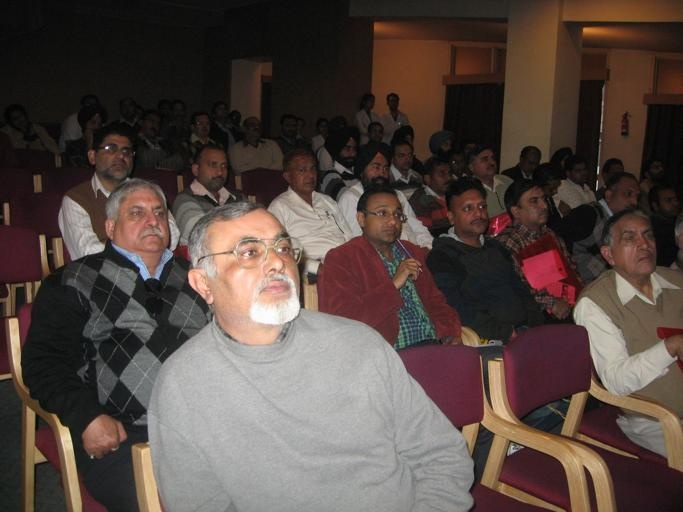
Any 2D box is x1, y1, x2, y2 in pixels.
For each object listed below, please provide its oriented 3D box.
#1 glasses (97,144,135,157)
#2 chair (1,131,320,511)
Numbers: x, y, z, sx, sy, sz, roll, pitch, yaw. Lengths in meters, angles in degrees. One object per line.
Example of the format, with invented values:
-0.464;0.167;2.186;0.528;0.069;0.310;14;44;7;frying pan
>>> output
-1.579;-0.744;3.659;0.105;0.033;0.104;8;-15;-44;glasses
-0.724;0.306;2.780;1.072;1.965;1.047;-5;-4;-41;chair
